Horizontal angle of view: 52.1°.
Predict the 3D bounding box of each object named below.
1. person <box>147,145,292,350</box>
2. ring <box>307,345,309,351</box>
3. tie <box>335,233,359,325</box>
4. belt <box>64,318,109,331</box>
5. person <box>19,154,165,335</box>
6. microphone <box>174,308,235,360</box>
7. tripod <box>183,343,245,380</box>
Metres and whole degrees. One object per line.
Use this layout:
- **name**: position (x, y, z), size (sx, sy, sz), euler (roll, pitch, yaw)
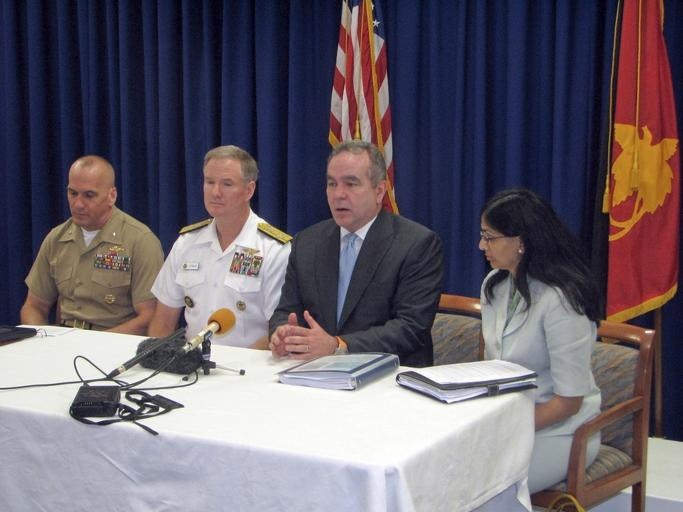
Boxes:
- **person**: position (-0.621, 0.022, 3.452), size (0.671, 1.124, 0.577), euler (3, -1, 13)
- **ring**: position (-0.125, 0.347, 2.608), size (0.014, 0.016, 0.014), euler (1, 13, 0)
- **tie**: position (0.032, 0.064, 3.113), size (0.064, 0.474, 0.068), euler (9, -20, 7)
- **belt**: position (-1.405, 0.374, 3.763), size (0.145, 0.057, 0.169), euler (6, -2, 4)
- **person**: position (-1.383, 0.014, 3.784), size (0.690, 1.082, 0.686), euler (3, 9, -8)
- **microphone**: position (-0.483, 0.286, 2.523), size (0.077, 0.090, 0.283), euler (9, 25, 27)
- **tripod**: position (-0.446, 0.351, 2.451), size (0.130, 0.073, 0.135), euler (-2, -3, 40)
